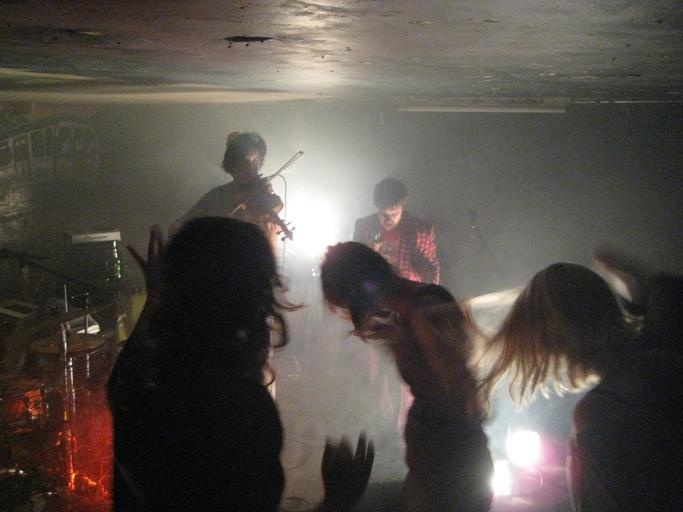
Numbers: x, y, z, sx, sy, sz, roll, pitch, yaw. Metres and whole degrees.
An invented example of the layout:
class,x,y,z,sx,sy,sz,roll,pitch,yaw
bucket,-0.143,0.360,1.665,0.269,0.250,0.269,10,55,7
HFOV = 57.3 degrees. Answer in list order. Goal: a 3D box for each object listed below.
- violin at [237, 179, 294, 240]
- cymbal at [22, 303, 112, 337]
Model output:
class,x,y,z,sx,sy,sz,roll,pitch,yaw
violin,-0.578,-0.375,5.007,0.328,0.566,0.175,-43,-2,1
cymbal,-2.047,0.480,4.692,0.403,0.098,0.409,1,5,-1
